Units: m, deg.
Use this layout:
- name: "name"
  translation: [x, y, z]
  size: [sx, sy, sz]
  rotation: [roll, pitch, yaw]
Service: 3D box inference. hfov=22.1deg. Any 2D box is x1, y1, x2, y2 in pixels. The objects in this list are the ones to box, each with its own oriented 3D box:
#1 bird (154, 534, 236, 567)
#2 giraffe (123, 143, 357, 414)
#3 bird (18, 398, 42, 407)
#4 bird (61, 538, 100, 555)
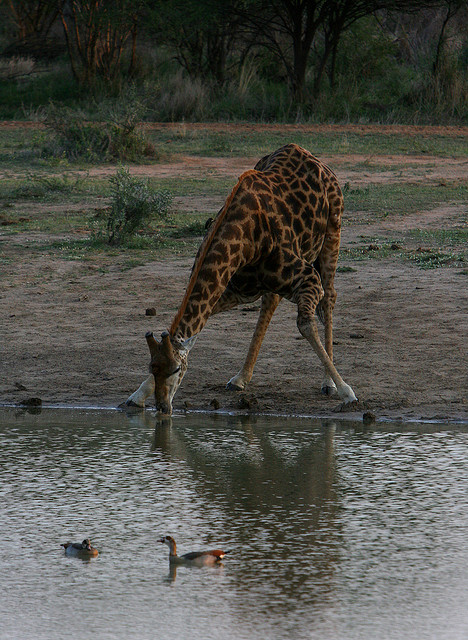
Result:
- name: "bird"
  translation: [-0.161, 0.952, 4.883]
  size: [0.295, 0.198, 0.121]
  rotation: [-5, -24, 6]
- name: "giraffe"
  translation: [0.107, -0.250, 7.406]
  size: [1.104, 1.520, 2.605]
  rotation: [2, 12, 12]
- name: "bird"
  translation: [-1.260, 0.497, 7.361]
  size: [0.158, 0.047, 0.069]
  rotation: [5, 12, 21]
- name: "bird"
  translation: [-0.627, 0.924, 4.933]
  size: [0.062, 0.052, 0.112]
  rotation: [1, 2, -42]
